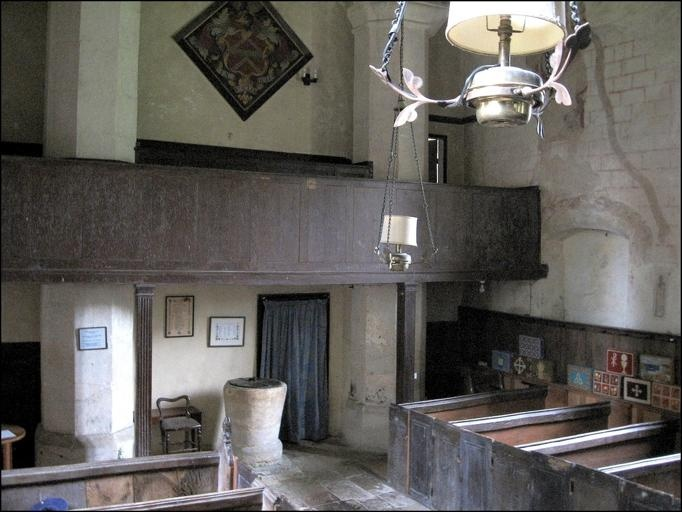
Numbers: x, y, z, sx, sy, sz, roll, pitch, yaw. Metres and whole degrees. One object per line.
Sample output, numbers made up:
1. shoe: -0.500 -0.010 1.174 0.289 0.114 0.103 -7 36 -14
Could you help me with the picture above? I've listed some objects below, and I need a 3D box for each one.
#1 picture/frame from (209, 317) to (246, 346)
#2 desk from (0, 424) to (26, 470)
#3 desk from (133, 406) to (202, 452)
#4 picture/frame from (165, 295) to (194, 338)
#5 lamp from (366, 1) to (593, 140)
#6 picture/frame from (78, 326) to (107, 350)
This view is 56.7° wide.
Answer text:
1. picture/frame: -2.171 1.402 11.836 0.544 0.470 0.054 1 -3 -30
2. desk: -4.952 2.891 9.549 0.292 0.587 0.662 -1 -3 -28
3. desk: -2.919 3.021 11.081 0.998 0.975 0.753 -2 -10 -23
4. picture/frame: -2.946 1.105 11.535 0.527 0.733 0.031 -1 -6 5
5. lamp: 1.297 -1.660 5.461 1.492 1.142 0.979 -2 -2 12
6. picture/frame: -3.766 1.233 9.518 0.345 0.305 0.045 1 -7 -26
